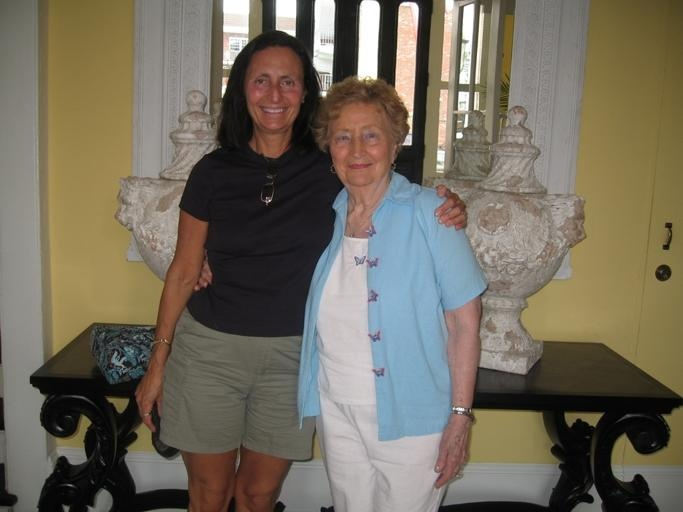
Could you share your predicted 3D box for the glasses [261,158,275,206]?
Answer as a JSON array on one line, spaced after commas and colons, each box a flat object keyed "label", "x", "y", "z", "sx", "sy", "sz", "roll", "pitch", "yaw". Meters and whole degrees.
[{"label": "glasses", "x": -0.250, "y": -0.237, "z": 2.183, "sx": 0.052, "sy": 0.127, "sz": 0.048, "roll": 2, "pitch": 7, "yaw": -4}]
